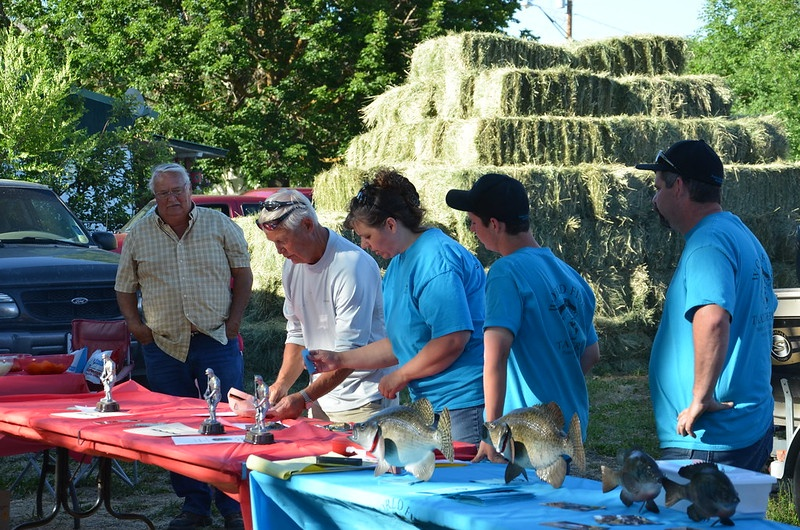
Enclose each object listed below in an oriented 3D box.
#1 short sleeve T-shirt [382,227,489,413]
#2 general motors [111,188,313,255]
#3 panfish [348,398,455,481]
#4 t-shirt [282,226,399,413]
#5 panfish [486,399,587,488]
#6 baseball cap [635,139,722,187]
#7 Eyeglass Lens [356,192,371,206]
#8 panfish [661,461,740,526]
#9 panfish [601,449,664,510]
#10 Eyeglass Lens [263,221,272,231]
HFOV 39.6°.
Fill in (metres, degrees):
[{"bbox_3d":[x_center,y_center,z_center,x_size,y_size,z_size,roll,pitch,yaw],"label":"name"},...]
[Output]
[{"bbox_3d":[0.263,0.407,7.946,0.788,1.387,1.268,1,-5,-17],"label":"short sleeve T-shirt"},{"bbox_3d":[-3.253,-0.630,16.095,0.780,0.661,1.700,-9,9,28],"label":"general motors"},{"bbox_3d":[0.027,1.152,7.287,0.701,0.519,0.167,1,-1,23],"label":"panfish"},{"bbox_3d":[-0.543,0.443,8.773,0.750,1.292,0.982,-25,21,-38],"label":"t-shirt"},{"bbox_3d":[0.869,1.175,7.153,0.807,0.494,0.229,0,-5,44],"label":"panfish"},{"bbox_3d":[2.048,-0.720,7.933,0.428,0.219,0.304,7,1,15],"label":"baseball cap"},{"bbox_3d":[-0.269,-0.478,7.995,0.074,0.096,0.036,-3,-33,-6],"label":"Eyeglass Lens"},{"bbox_3d":[1.863,1.422,6.906,0.436,0.360,0.059,-1,-1,22],"label":"panfish"},{"bbox_3d":[1.499,1.396,7.112,0.239,0.409,0.810,0,-10,-21],"label":"panfish"},{"bbox_3d":[-0.998,-0.288,8.361,0.064,0.044,0.063,-4,3,3],"label":"Eyeglass Lens"}]
